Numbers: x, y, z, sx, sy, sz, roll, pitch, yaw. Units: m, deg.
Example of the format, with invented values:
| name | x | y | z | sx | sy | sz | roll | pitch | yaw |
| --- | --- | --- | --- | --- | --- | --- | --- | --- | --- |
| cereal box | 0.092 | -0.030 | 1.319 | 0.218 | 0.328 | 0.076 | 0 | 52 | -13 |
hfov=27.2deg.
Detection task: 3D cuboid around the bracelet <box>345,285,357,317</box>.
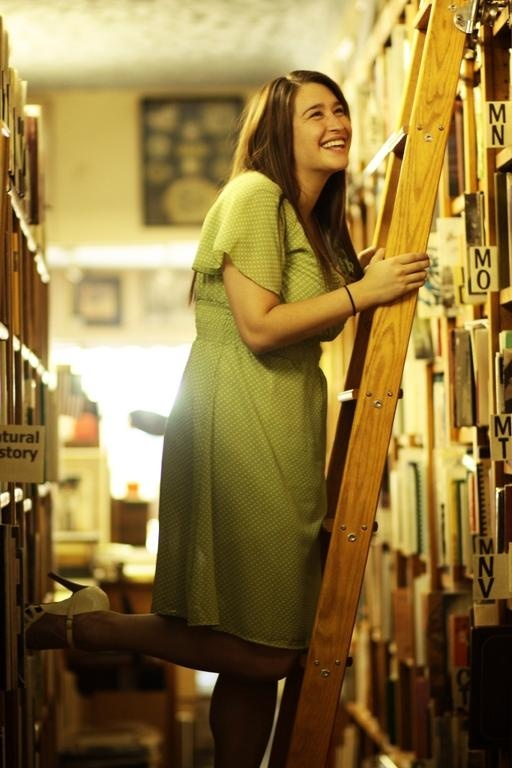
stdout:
| name | x | y | z | sx | sy | sz | roll | pitch | yaw |
| --- | --- | --- | --- | --- | --- | --- | --- | --- | --- |
| bracelet | 0.164 | -0.143 | 1.818 | 0.012 | 0.041 | 0.044 | -18 | 1 | 4 |
